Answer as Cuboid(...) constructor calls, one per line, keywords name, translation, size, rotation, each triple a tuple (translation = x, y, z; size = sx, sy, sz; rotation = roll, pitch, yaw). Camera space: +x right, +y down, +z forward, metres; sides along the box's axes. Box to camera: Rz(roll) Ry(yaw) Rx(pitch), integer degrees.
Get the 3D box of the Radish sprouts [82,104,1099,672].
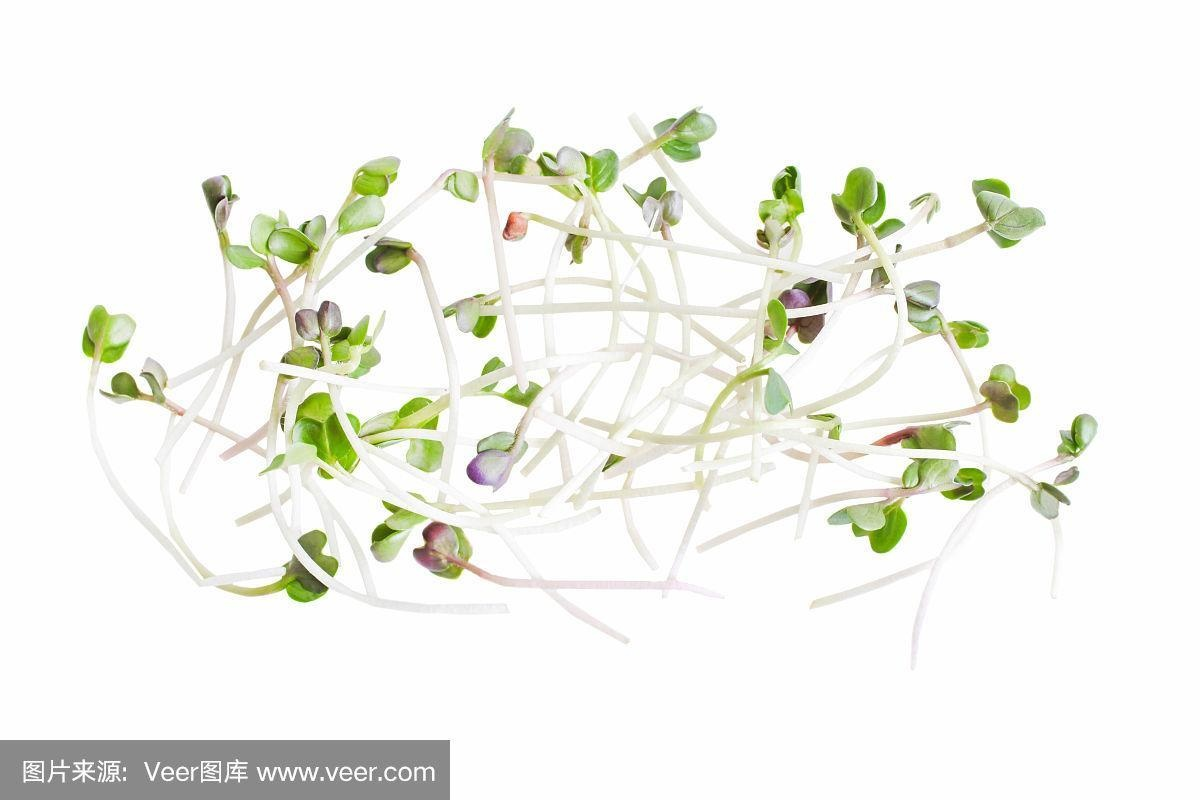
Cuboid(name="Radish sprouts", translation=(0.032, -0.096, 1.929), size=(1.508, 1.184, 0.447), rotation=(20, -46, 40))
